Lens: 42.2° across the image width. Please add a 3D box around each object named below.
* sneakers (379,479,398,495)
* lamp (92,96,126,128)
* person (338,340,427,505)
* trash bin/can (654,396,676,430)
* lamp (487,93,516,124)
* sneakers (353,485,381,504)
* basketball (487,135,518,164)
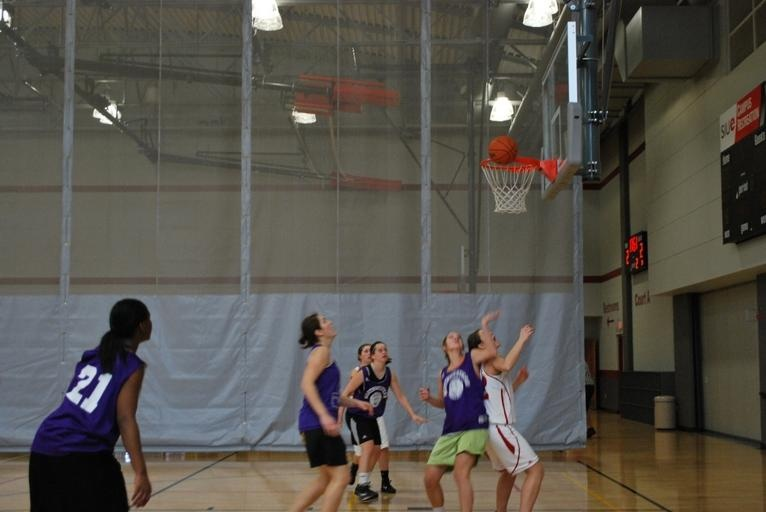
[{"bbox_3d":[0.064,3.417,14.693,0.249,0.257,0.134,-1,-8,-2],"label":"sneakers"},{"bbox_3d":[-4.877,-2.539,17.569,0.533,0.583,0.338,3,12,-25],"label":"lamp"},{"bbox_3d":[-0.095,2.358,14.527,1.253,2.297,1.092,1,5,1],"label":"person"},{"bbox_3d":[5.929,3.284,20.868,0.434,0.697,0.384,-3,-6,13],"label":"trash bin/can"},{"bbox_3d":[2.079,-2.592,17.476,0.397,0.476,0.426,3,-11,-12],"label":"lamp"},{"bbox_3d":[-0.233,3.435,14.342,0.345,0.192,0.181,1,-8,8],"label":"sneakers"},{"bbox_3d":[1.961,-1.762,16.327,0.440,0.468,0.250,-1,-6,-1],"label":"basketball"}]
